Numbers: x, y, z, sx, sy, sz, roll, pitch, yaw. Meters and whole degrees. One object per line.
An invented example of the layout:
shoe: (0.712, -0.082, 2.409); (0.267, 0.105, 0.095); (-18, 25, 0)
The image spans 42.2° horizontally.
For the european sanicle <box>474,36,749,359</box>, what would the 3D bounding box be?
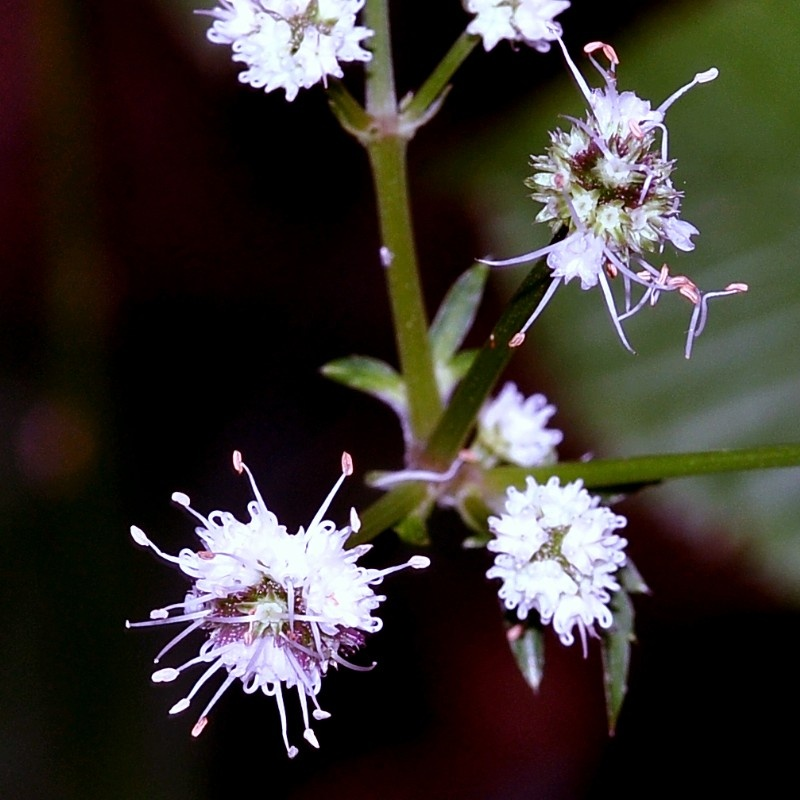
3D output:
european sanicle: (0.189, -0.225, 0.922); (0.214, 0.198, 0.101); (-25, -77, -15)

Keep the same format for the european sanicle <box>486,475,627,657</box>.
european sanicle: (0.140, 0.150, 0.966); (0.127, 0.149, 0.096); (0, -41, -7)

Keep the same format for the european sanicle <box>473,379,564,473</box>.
european sanicle: (0.136, 0.030, 1.248); (0.107, 0.142, 0.062); (-6, -40, 0)

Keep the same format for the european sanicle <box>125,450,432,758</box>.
european sanicle: (-0.116, 0.166, 0.986); (0.188, 0.123, 0.203); (-2, 3, 41)
